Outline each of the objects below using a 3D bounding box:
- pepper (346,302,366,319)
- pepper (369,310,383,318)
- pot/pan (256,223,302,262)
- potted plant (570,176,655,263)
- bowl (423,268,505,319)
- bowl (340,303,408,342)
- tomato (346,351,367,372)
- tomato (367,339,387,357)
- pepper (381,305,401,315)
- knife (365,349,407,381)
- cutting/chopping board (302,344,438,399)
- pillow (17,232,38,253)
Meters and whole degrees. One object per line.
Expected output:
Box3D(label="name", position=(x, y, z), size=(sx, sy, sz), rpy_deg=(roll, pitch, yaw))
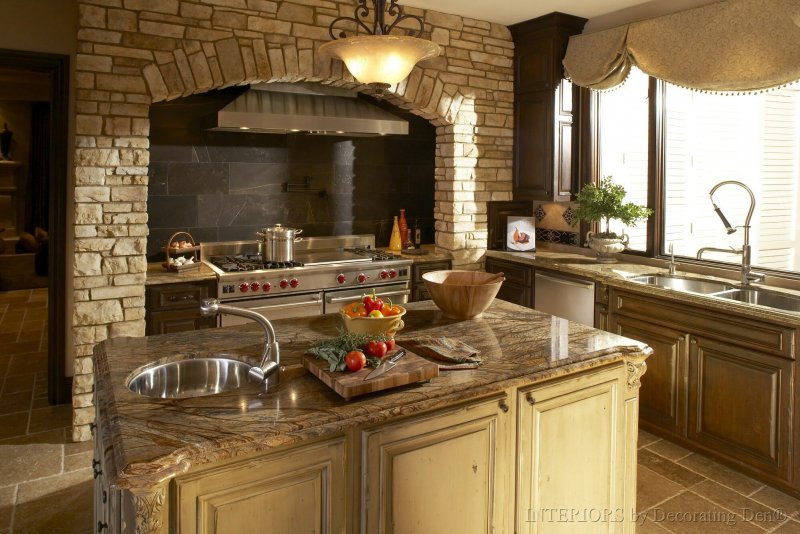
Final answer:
Box3D(label="pepper", position=(-0.257, 0.251, 3.515), size=(0.107, 0.082, 0.133), rpy_deg=(-1, -14, 22))
Box3D(label="pepper", position=(-0.132, 0.261, 3.419), size=(0.081, 0.039, 0.076), rpy_deg=(-2, 8, -3))
Box3D(label="pot/pan", position=(-1.118, -0.195, 5.664), size=(0.622, 0.307, 0.374), rpy_deg=(0, 2, -12))
Box3D(label="potted plant", position=(1.946, -0.447, 5.628), size=(0.785, 0.679, 0.448), rpy_deg=(5, 7, 29))
Box3D(label="bowl", position=(0.426, 0.161, 3.991), size=(0.585, 0.261, 0.501), rpy_deg=(2, 11, 0))
Box3D(label="bowl", position=(-0.145, 0.314, 3.432), size=(0.282, 0.087, 0.256), rpy_deg=(0, 2, 0))
Box3D(label="tomato", position=(-0.223, 0.483, 3.086), size=(0.123, 0.089, 0.105), rpy_deg=(0, -5, 4))
Box3D(label="tomato", position=(-0.119, 0.432, 3.217), size=(0.106, 0.072, 0.090), rpy_deg=(0, 1, -7))
Box3D(label="pepper", position=(-0.051, 0.246, 3.501), size=(0.077, 0.075, 0.066), rpy_deg=(2, 1, -1))
Box3D(label="knife", position=(-0.071, 0.510, 3.119), size=(0.070, 0.026, 0.313), rpy_deg=(11, 13, 24))
Box3D(label="cutting/chopping board", position=(-0.153, 0.545, 3.189), size=(0.581, 0.159, 0.381), rpy_deg=(-5, 8, -24))
Box3D(label="pillow", position=(-6.245, -0.420, 10.176), size=(0.221, 0.307, 0.367), rpy_deg=(-1, -13, 31))
